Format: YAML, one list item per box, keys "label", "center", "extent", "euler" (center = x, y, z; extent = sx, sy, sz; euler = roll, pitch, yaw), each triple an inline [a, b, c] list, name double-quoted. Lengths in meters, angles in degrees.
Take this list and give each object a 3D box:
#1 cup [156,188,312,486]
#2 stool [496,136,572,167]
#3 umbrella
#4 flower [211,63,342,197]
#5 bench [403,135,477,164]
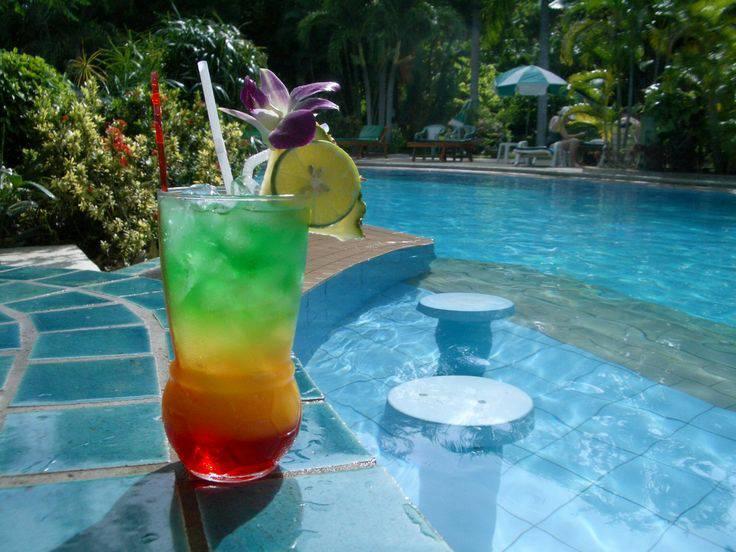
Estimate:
- label: "cup"
  center: [-0.236, 0.115, 0.874]
  extent: [0.249, 0.514, 0.155]
  euler: [1, 16, -8]
- label: "stool"
  center: [5.731, -4.082, 16.801]
  extent: [2.094, 0.594, 1.822]
  euler: [-1, 9, -4]
- label: "umbrella"
  center: [5.734, -6.910, 18.181]
  extent: [2.391, 0.682, 2.040]
  euler: [0, 13, 1]
- label: "flower"
  center: [-0.133, -0.273, 0.937]
  extent: [0.296, 0.231, 0.234]
  euler: [-3, 28, 2]
- label: "bench"
  center: [2.939, -4.934, 19.452]
  extent: [2.307, 0.989, 4.623]
  euler: [5, 12, 11]
